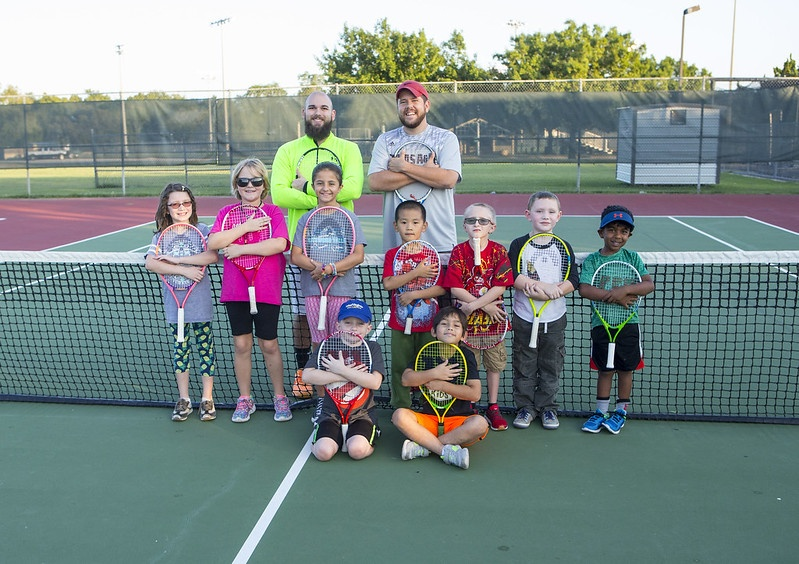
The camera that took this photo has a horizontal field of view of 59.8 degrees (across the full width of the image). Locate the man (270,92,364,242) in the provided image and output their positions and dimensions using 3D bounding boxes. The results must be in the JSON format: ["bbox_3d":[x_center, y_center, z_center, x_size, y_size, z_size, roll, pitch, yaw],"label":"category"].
[{"bbox_3d":[-0.784,-0.836,6.668,0.892,1.924,0.678,-2,19,-11],"label":"man"}]

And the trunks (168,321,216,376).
[{"bbox_3d":[-1.854,0.595,6.260,0.386,0.843,0.205,-10,45,-25],"label":"trunks"}]

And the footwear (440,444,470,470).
[{"bbox_3d":[0.440,1.390,5.511,0.115,0.113,0.263,2,1,-40],"label":"footwear"}]

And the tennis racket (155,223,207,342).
[{"bbox_3d":[-1.906,-0.003,6.180,0.447,1.033,0.402,-4,9,-19],"label":"tennis racket"}]

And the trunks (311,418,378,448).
[{"bbox_3d":[-0.444,1.216,5.700,0.318,0.137,0.311,4,8,5],"label":"trunks"}]

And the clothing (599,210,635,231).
[{"bbox_3d":[1.886,-0.545,6.036,0.268,0.154,0.197,1,8,15],"label":"clothing"}]

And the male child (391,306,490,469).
[{"bbox_3d":[0.366,0.803,5.637,0.747,1.215,0.754,-6,10,-44],"label":"male child"}]

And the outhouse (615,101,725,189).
[{"bbox_3d":[8.491,-4.372,22.038,2.995,2.582,1.673,2,9,22],"label":"outhouse"}]

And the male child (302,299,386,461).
[{"bbox_3d":[-0.454,0.905,5.742,0.653,1.017,0.475,-2,8,-4],"label":"male child"}]

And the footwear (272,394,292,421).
[{"bbox_3d":[-1.055,1.139,6.268,0.188,0.213,0.514,-1,-6,-10],"label":"footwear"}]

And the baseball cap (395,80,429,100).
[{"bbox_3d":[0.108,-1.731,6.222,0.269,0.203,0.527,-1,7,0],"label":"baseball cap"}]

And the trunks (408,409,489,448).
[{"bbox_3d":[0.347,1.166,5.697,0.538,0.283,0.213,6,-4,5],"label":"trunks"}]

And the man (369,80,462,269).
[{"bbox_3d":[0.150,-0.665,6.414,0.811,2.252,0.610,3,13,14],"label":"man"}]

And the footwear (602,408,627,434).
[{"bbox_3d":[1.849,1.201,5.978,0.111,0.129,0.291,21,8,27],"label":"footwear"}]

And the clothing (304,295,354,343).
[{"bbox_3d":[-0.671,0.295,6.109,0.296,0.478,0.245,1,-4,0],"label":"clothing"}]

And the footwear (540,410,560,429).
[{"bbox_3d":[1.317,1.187,6.074,0.157,0.146,0.177,-1,8,6],"label":"footwear"}]

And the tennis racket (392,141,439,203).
[{"bbox_3d":[0.135,-0.985,6.200,0.384,0.556,0.182,-1,8,0],"label":"tennis racket"}]

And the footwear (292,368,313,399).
[{"bbox_3d":[-0.907,0.980,6.544,0.192,0.316,0.096,-7,3,-6],"label":"footwear"}]

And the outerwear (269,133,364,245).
[{"bbox_3d":[-0.768,-0.896,6.640,0.846,1.046,0.543,-3,21,-5],"label":"outerwear"}]

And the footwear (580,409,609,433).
[{"bbox_3d":[1.680,1.216,5.977,0.108,0.123,0.279,-5,-2,44],"label":"footwear"}]

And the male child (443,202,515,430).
[{"bbox_3d":[0.704,0.284,6.048,0.595,1.955,0.561,1,6,18],"label":"male child"}]
